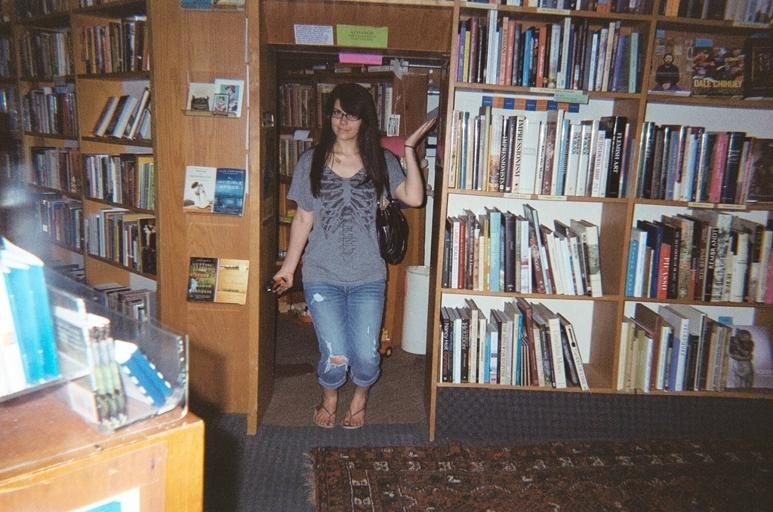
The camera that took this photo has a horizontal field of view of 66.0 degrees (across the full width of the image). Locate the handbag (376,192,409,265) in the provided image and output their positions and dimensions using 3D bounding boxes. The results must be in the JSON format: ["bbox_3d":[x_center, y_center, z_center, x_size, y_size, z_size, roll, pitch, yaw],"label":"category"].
[{"bbox_3d":[0.023,-0.170,3.533,0.148,0.282,0.361,1,-28,15],"label":"handbag"}]
